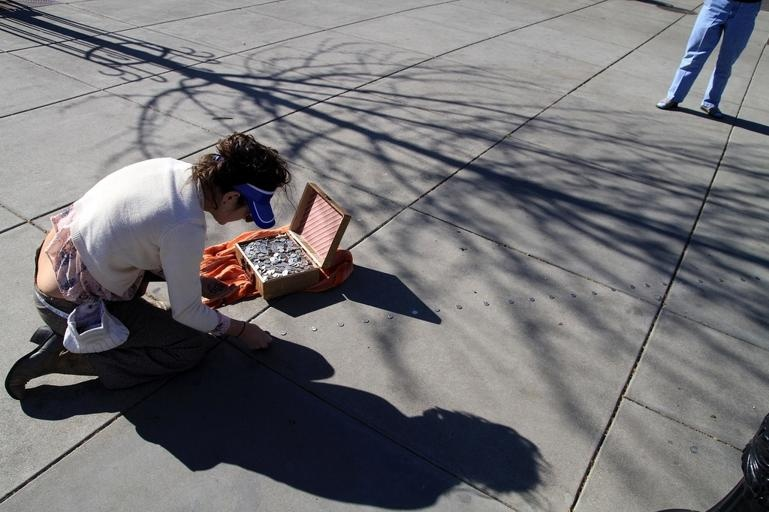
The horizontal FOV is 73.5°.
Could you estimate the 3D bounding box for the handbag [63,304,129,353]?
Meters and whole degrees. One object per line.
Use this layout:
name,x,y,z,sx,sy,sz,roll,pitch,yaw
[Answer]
handbag,-1.777,0.471,3.171,0.326,0.162,0.345,-15,38,-12

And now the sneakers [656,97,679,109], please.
sneakers,4.122,-2.192,7.396,0.397,0.135,0.136,-1,29,-12

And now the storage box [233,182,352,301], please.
storage box,-0.763,-0.106,4.116,0.822,0.552,0.699,-16,39,-14

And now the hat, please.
hat,-0.757,-0.374,3.161,0.485,0.156,0.306,47,25,1

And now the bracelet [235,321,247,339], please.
bracelet,-0.958,0.497,3.497,0.098,0.083,0.090,-20,27,-9
